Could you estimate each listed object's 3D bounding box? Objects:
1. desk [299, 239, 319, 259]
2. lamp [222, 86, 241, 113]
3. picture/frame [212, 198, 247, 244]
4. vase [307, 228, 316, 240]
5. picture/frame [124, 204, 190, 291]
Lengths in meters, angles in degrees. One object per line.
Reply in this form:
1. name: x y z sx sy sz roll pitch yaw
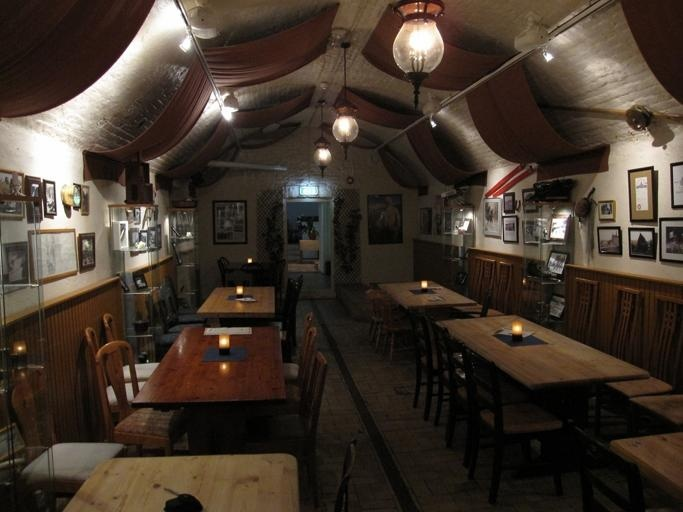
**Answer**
1. desk: -1.154 -0.284 18.527 0.863 0.865 0.625 0 9 0
2. lamp: -1.489 -2.112 6.542 0.187 0.329 0.523 -3 8 -13
3. picture/frame: -2.762 -0.880 11.867 1.011 1.312 0.091 -1 9 -5
4. vase: -1.170 -0.896 19.979 0.412 0.551 0.426 1 6 -10
5. picture/frame: -2.747 -0.075 7.245 0.471 1.453 1.500 0 1 13
